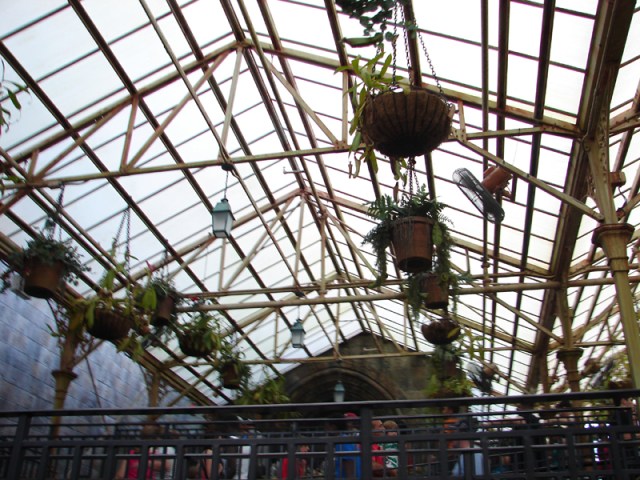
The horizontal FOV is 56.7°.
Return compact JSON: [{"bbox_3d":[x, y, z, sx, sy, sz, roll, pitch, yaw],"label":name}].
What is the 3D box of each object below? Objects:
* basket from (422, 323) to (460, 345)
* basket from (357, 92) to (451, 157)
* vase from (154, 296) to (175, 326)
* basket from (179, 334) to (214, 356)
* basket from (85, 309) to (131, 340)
[{"bbox_3d":[1.553,1.208,7.631,0.377,0.208,0.352,-19,-41,18],"label":"basket"},{"bbox_3d":[0.733,-1.022,5.141,0.653,0.367,0.568,-18,-33,32],"label":"basket"},{"bbox_3d":[-2.403,1.097,9.218,0.274,0.406,0.364,9,-30,-12],"label":"vase"},{"bbox_3d":[-1.973,1.656,9.165,0.453,0.249,0.349,-1,-50,16],"label":"basket"},{"bbox_3d":[-2.618,1.038,7.457,0.493,0.218,0.451,2,-38,-5],"label":"basket"}]
